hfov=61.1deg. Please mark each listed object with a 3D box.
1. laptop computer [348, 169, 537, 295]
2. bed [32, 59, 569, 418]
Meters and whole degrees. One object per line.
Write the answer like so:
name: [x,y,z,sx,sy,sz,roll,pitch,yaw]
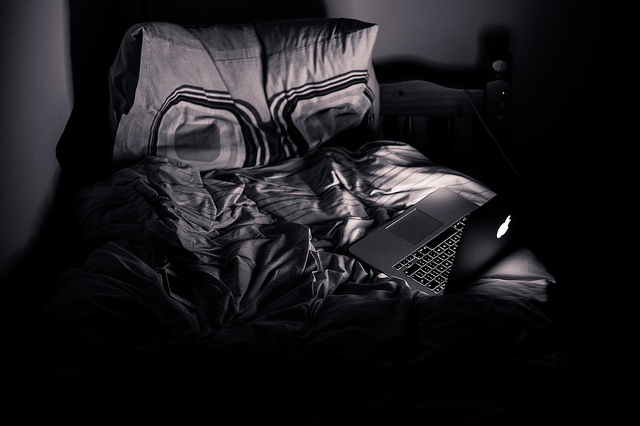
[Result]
laptop computer: [0.343,0.064,1.513,0.428,0.260,0.311,-35,55,-28]
bed: [-0.051,0.128,1.463,1.305,0.322,0.949,-4,26,-6]
